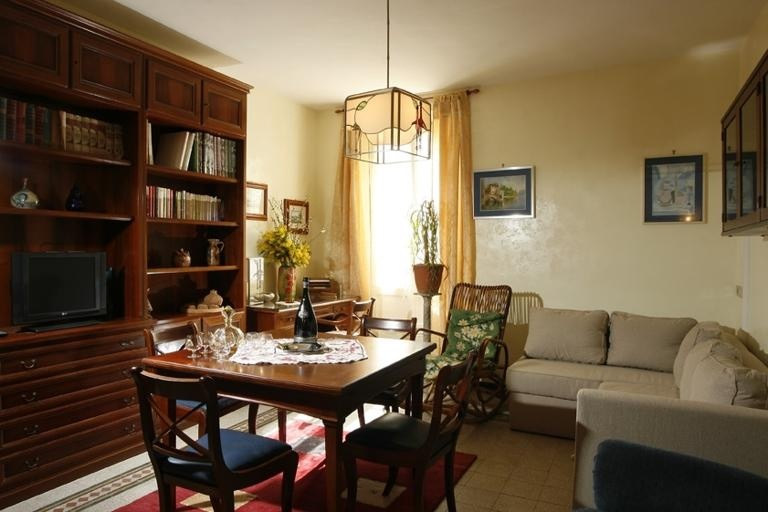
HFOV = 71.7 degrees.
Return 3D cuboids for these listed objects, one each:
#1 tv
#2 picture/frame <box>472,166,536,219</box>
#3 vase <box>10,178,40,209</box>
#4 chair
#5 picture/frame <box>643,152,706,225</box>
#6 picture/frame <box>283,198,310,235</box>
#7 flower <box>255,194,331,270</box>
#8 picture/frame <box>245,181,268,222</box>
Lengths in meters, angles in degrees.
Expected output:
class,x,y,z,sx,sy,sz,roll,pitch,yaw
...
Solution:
class,x,y,z,sx,sy,sz,roll,pitch,yaw
tv,-2.707,0.304,4.377,0.149,0.618,0.666,-3,-3,43
picture/frame,1.418,-0.729,6.164,0.620,0.531,0.061,0,-2,23
vase,-2.908,-0.511,4.298,0.202,0.280,0.376,-4,4,-33
chair,-0.472,1.152,3.795,1.959,0.914,1.016,-3,3,-20
picture/frame,3.034,-0.701,5.512,0.748,1.028,0.085,0,-1,23
picture/frame,-1.144,-0.505,6.806,0.034,0.451,0.513,-1,-2,29
flower,-1.231,-0.278,6.570,0.754,1.107,0.934,4,1,22
picture/frame,-1.503,-0.630,6.204,0.039,0.487,0.507,-1,-4,22
